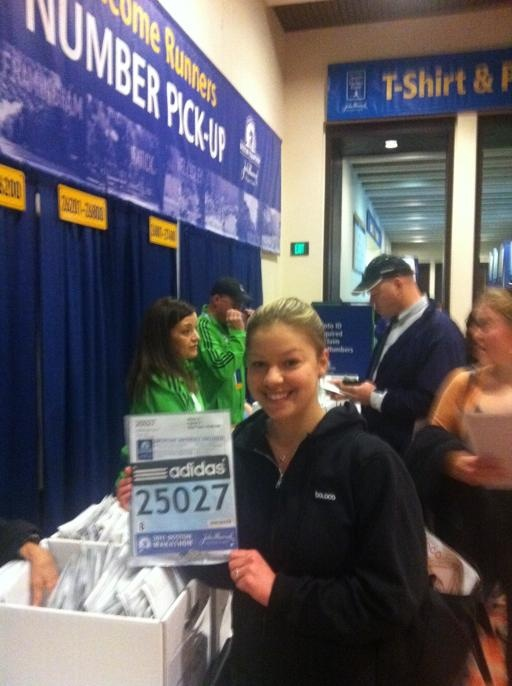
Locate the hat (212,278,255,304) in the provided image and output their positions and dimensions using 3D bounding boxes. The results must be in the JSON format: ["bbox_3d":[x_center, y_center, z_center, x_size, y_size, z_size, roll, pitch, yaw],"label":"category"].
[{"bbox_3d":[-0.144,-0.304,3.085,0.166,0.133,0.144,8,19,0],"label":"hat"}]

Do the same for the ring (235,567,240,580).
[{"bbox_3d":[-0.032,0.383,0.881,0.003,0.017,0.010,4,7,-6],"label":"ring"}]

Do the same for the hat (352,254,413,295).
[{"bbox_3d":[0.621,-0.338,2.587,0.210,0.159,0.175,-20,3,15],"label":"hat"}]
